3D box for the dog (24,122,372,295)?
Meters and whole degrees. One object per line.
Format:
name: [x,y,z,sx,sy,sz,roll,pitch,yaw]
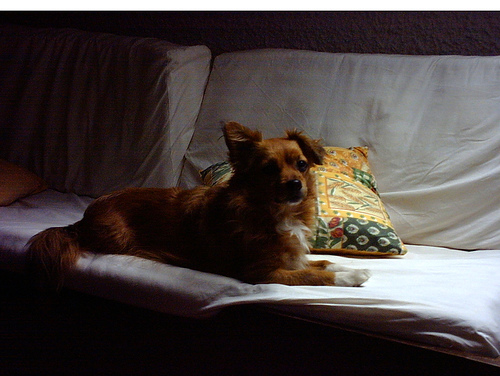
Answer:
dog: [-0.217,0.097,1.659,1.368,0.529,0.482,-3,10,7]
